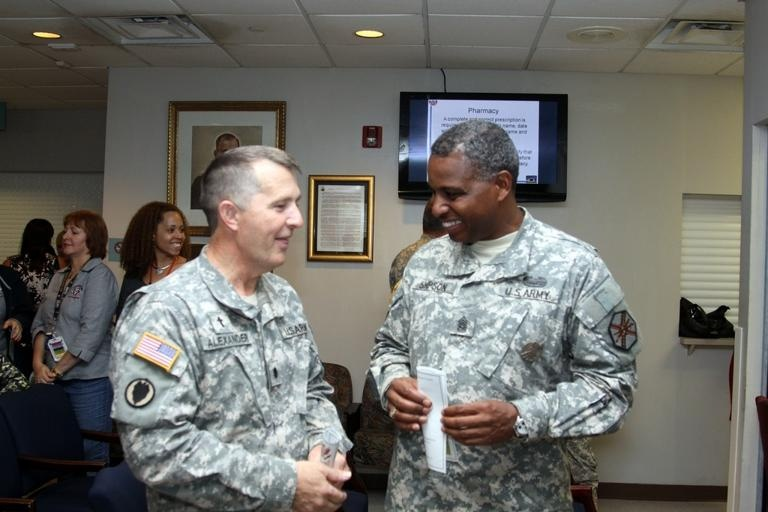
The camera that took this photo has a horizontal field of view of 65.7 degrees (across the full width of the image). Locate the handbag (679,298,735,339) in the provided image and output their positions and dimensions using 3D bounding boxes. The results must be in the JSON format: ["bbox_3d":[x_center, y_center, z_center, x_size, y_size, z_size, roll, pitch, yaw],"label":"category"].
[{"bbox_3d":[2.924,0.571,5.391,0.433,0.364,0.211,2,0,28],"label":"handbag"}]

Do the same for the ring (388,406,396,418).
[{"bbox_3d":[0.038,0.709,2.696,0.037,0.051,0.019,7,-7,25],"label":"ring"}]

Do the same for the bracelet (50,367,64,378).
[{"bbox_3d":[-2.460,0.880,4.476,0.053,0.138,0.050,27,20,18],"label":"bracelet"}]
